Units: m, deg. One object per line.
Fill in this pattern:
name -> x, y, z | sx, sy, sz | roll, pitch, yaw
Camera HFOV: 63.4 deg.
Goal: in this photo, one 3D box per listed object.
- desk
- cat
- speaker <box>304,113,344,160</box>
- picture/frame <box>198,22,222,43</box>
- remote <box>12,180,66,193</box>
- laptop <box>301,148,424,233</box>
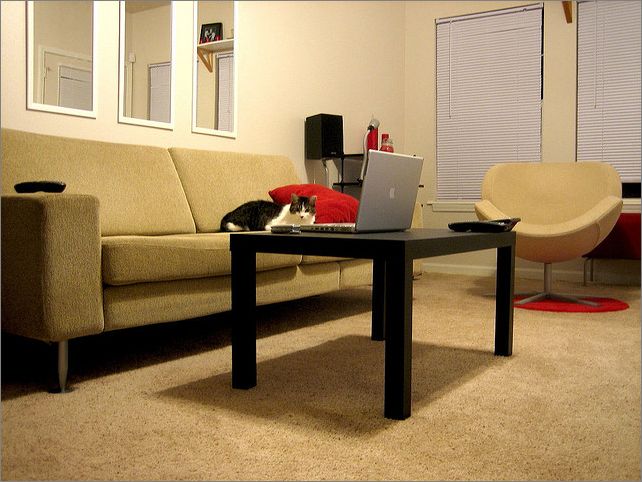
desk -> 0.317, 0.209, 2.367 | 1.014, 0.670, 1.468 | 8, 13, 31
cat -> -0.300, -0.157, 3.099 | 0.471, 0.220, 0.271 | -4, 6, -18
speaker -> 0.021, -0.857, 4.267 | 0.347, 0.509, 0.252 | -4, 6, -43
picture/frame -> -0.771, -1.436, 3.582 | 0.053, 0.140, 0.156 | 10, 17, 37
remote -> -1.155, -0.221, 2.148 | 0.156, 0.046, 0.211 | -10, 15, -44
laptop -> 0.187, -0.185, 2.117 | 0.341, 0.290, 0.456 | 1, 3, 32
